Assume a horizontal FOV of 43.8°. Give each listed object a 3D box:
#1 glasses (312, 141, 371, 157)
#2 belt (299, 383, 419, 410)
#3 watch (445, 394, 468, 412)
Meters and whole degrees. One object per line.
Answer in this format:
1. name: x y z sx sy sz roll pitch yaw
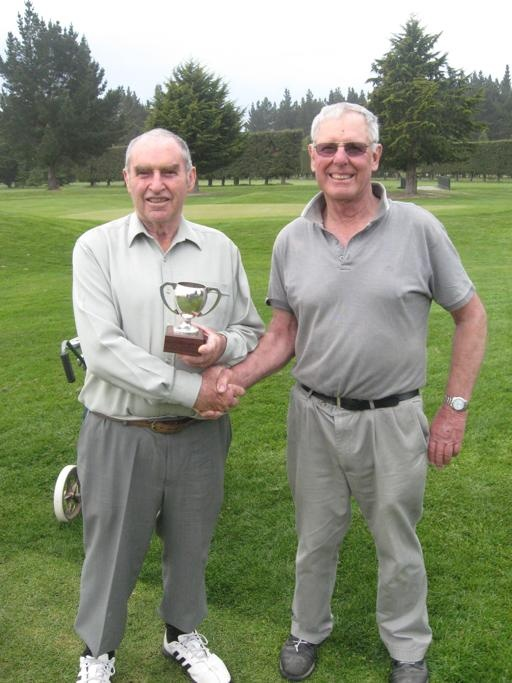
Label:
1. glasses: 0.316 -0.711 2.360 0.203 0.056 0.114 1 14 10
2. belt: 0.377 0.209 2.425 0.460 0.068 0.149 3 15 16
3. watch: 0.776 0.240 2.450 0.070 0.050 0.067 6 -6 11
